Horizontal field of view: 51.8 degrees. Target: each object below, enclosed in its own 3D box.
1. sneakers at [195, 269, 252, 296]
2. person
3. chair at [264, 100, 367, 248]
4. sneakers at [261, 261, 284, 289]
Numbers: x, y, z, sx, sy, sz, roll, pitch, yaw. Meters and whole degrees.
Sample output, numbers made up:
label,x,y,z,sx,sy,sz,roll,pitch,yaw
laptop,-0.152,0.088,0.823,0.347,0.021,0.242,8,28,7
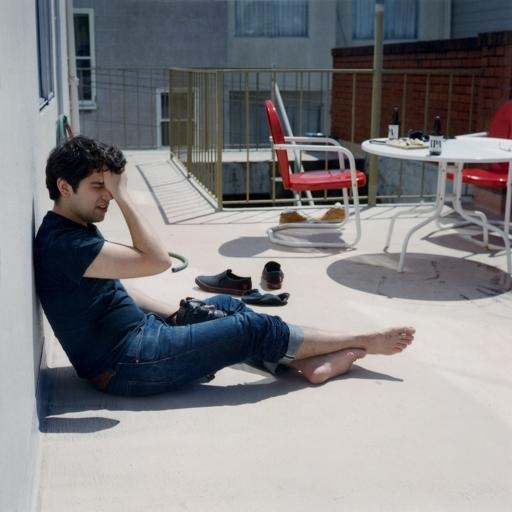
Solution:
label,x,y,z,sx,sy,sz,roll,pitch,yaw
sneakers,-0.184,0.161,3.124,0.331,0.122,0.135,5,8,16
person,-0.097,0.069,1.938,1.390,0.817,0.564,3,7,-5
chair,0.458,-0.653,4.195,0.873,1.027,0.781,4,16,11
sneakers,0.104,0.122,3.241,0.083,0.088,0.218,0,13,-1
